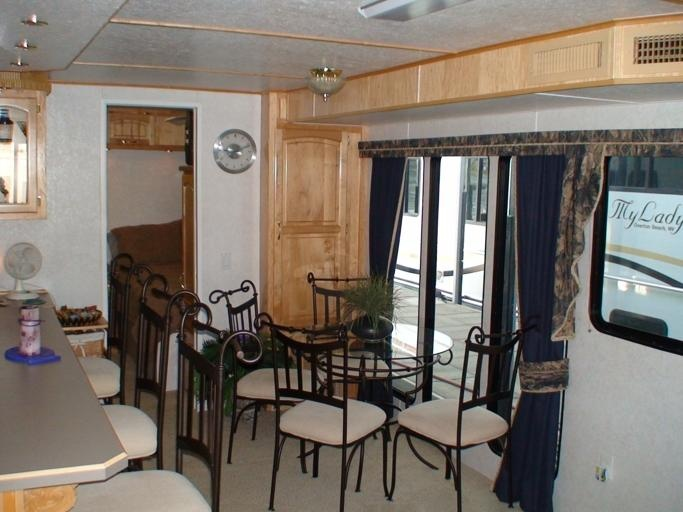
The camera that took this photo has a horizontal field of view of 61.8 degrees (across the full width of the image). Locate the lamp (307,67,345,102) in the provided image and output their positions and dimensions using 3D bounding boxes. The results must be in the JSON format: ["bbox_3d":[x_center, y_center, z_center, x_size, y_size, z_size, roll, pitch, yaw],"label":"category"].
[{"bbox_3d":[-0.102,-1.130,3.769,0.198,0.153,0.199,0,10,2],"label":"lamp"}]

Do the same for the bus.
[{"bbox_3d":[1.344,-0.034,3.852,0.129,1.403,1.382,-11,16,-38],"label":"bus"}]

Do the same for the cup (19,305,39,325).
[{"bbox_3d":[-1.634,0.311,2.965,0.084,0.086,0.090,1,-4,0],"label":"cup"}]

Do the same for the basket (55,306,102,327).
[{"bbox_3d":[-2.126,0.494,4.631,0.253,0.123,0.224,0,3,-24],"label":"basket"}]
